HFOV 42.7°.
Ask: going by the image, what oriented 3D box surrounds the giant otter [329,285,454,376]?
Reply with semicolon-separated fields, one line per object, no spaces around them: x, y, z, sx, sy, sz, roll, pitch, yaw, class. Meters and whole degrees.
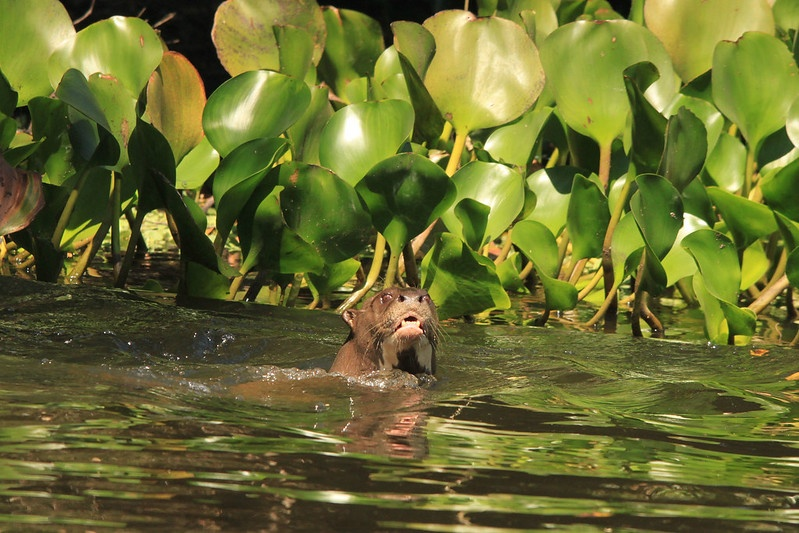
-0.054;0.382;5.880;0.390;0.338;0.650;3;-16;-15;giant otter
